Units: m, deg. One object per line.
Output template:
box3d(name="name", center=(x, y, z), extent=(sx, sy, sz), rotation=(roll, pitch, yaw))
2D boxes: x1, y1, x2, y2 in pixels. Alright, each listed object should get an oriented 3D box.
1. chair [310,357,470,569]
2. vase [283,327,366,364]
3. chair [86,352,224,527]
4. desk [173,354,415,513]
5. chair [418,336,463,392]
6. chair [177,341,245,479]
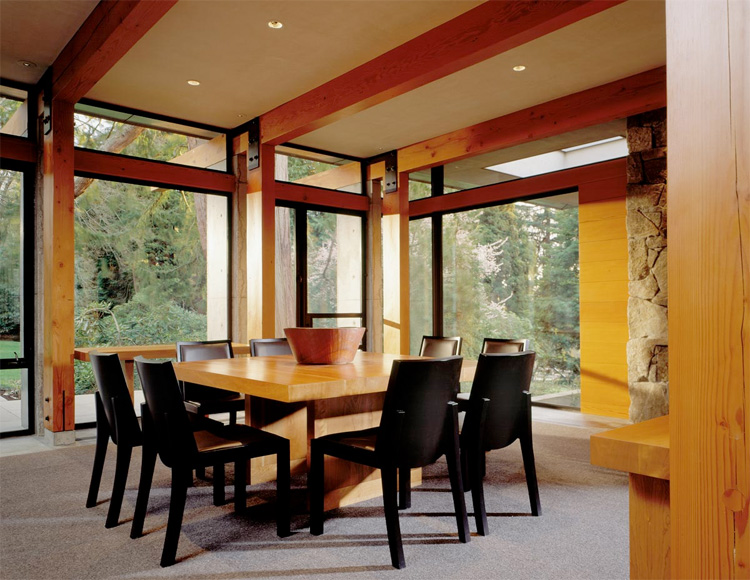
box3d(name="chair", center=(0.054, 0.782, 2.913), extent=(0.766, 0.931, 0.347), rotation=(0, 2, 9))
box3d(name="vase", center=(-0.295, 0.336, 3.675), extent=(0.515, 0.204, 0.499), rotation=(1, -4, -33))
box3d(name="chair", center=(-0.967, 0.800, 3.200), extent=(0.664, 0.775, 0.577), rotation=(10, -5, -38))
box3d(name="desk", center=(-0.343, 0.646, 3.311), extent=(0.992, 0.569, 0.971), rotation=(7, -9, -39))
box3d(name="chair", center=(0.472, 0.493, 4.422), extent=(0.265, 0.437, 0.284), rotation=(2, -3, 4))
box3d(name="chair", center=(-1.133, 0.828, 4.265), extent=(0.491, 0.805, 0.512), rotation=(-8, 27, -9))
